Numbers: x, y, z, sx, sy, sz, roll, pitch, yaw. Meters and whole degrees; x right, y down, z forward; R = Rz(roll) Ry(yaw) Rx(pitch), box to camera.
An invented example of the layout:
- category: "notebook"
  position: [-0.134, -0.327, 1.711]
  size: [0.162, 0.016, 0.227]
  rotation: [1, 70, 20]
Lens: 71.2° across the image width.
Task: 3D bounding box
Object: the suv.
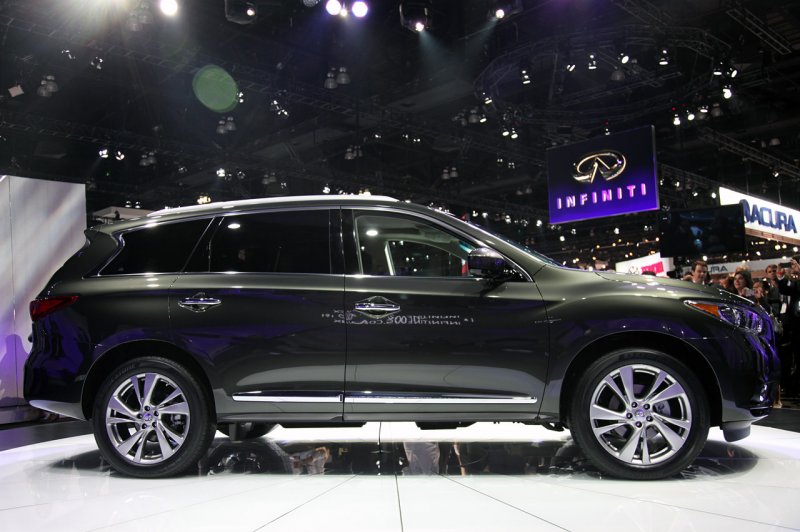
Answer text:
- category: "suv"
  position: [-0.150, 0.738, 6.211]
  size: [7.107, 2.262, 2.785]
  rotation: [-1, -7, 4]
